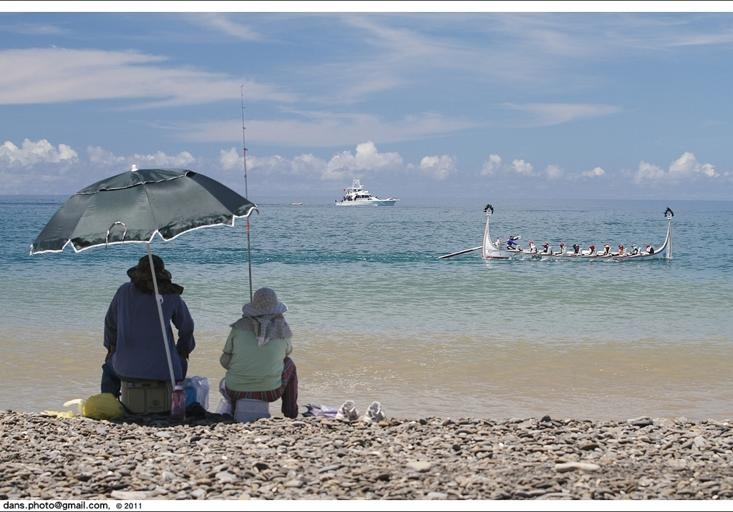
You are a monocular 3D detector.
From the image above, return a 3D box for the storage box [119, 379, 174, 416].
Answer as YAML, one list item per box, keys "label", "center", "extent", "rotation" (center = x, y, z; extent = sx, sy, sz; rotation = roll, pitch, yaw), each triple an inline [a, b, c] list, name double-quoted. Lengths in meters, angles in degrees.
- label: "storage box"
  center: [-3.949, 2.560, 18.607]
  extent: [0.910, 0.404, 0.766]
  rotation: [1, 0, 2]

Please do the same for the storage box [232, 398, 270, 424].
- label: "storage box"
  center: [-2.074, 2.772, 18.277]
  extent: [0.614, 0.334, 0.473]
  rotation: [1, -6, -3]

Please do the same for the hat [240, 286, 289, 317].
- label: "hat"
  center: [-1.704, 0.817, 18.336]
  extent: [0.765, 0.230, 0.577]
  rotation: [-5, 8, -44]
